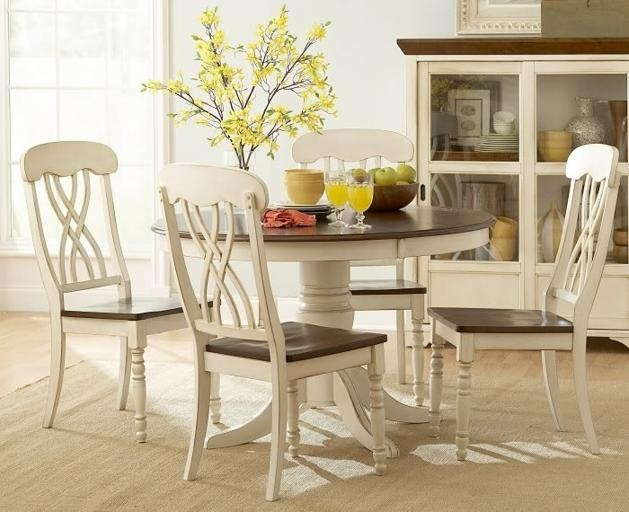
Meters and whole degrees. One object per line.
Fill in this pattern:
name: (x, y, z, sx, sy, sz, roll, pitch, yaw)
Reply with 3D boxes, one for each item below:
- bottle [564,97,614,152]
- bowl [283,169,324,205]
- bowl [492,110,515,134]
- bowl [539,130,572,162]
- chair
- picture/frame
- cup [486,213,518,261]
bottle: (1.529, -0.702, 3.250, 0.231, 0.287, 0.217, -6, 6, 1)
bowl: (-0.029, -0.258, 2.258, 0.127, 0.102, 0.144, 7, 11, 33)
bowl: (1.016, -0.716, 3.203, 0.115, 0.081, 0.121, -2, 8, 0)
bowl: (1.286, -0.580, 3.225, 0.181, 0.136, 0.168, 3, 1, 0)
chair: (-0.076, 0.133, 2.153, 2.076, 1.135, 1.060, 3, 9, 22)
picture/frame: (0.847, -0.770, 3.199, 0.410, 0.425, 0.036, 1, 7, 6)
cup: (0.990, -0.103, 3.118, 0.198, 0.286, 0.205, 0, 11, 0)
